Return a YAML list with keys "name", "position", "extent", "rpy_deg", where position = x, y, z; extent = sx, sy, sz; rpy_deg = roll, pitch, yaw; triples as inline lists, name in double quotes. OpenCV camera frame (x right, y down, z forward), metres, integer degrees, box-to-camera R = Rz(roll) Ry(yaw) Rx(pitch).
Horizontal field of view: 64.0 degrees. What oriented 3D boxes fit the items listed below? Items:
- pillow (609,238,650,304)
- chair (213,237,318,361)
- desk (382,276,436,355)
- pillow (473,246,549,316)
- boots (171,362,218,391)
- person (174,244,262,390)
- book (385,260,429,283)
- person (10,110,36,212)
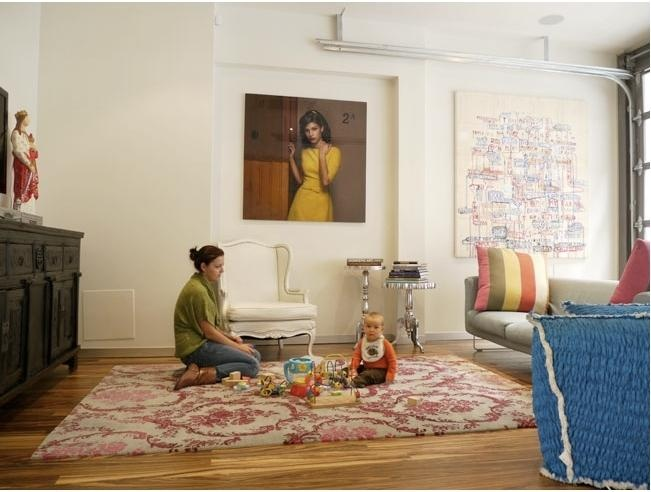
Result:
- name: "pillow"
  position: [2.232, 0.185, 3.803]
  extent: [0.231, 0.457, 0.252]
  rpy_deg: [3, 6, 29]
- name: "chair"
  position: [-0.531, 0.472, 5.010]
  extent: [0.953, 1.357, 1.027]
  rpy_deg: [2, -7, -18]
- name: "desk"
  position: [0.828, 0.668, 5.179]
  extent: [0.543, 0.695, 0.516]
  rpy_deg: [7, -6, -13]
- name: "pillow"
  position: [1.703, 0.340, 4.794]
  extent: [0.573, 0.515, 0.214]
  rpy_deg: [4, -23, -3]
- name: "boots"
  position: [-0.950, 0.960, 3.836]
  extent: [0.394, 0.167, 0.123]
  rpy_deg: [12, -21, -41]
- name: "person"
  position: [-0.953, 0.553, 4.589]
  extent: [0.954, 1.452, 0.848]
  rpy_deg: [0, 0, -18]
- name: "book"
  position: [0.807, 0.241, 5.112]
  extent: [0.379, 0.181, 0.181]
  rpy_deg: [1, 5, 3]
- name: "person"
  position: [-2.314, -0.660, 4.008]
  extent: [0.176, 0.742, 0.294]
  rpy_deg: [-3, 6, -30]
